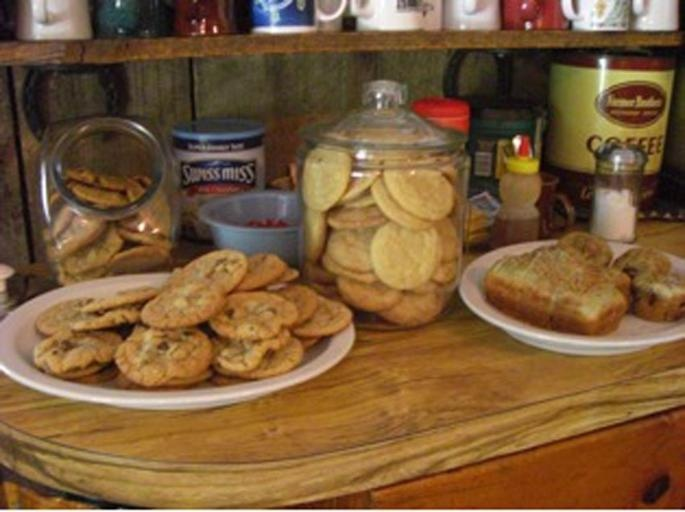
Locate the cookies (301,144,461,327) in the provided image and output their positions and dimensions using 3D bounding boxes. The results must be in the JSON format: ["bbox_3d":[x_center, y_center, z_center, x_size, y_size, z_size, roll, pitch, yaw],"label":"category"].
[{"bbox_3d":[0.052,-0.049,0.995,0.265,0.244,0.265,-3,14,-8],"label":"cookies"}]

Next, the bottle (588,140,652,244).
[{"bbox_3d":[0.523,-0.121,1.187,0.092,0.182,0.082,10,26,27],"label":"bottle"}]

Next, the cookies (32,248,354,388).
[{"bbox_3d":[-0.193,0.091,0.781,0.265,0.047,0.223,-9,22,-36],"label":"cookies"}]
